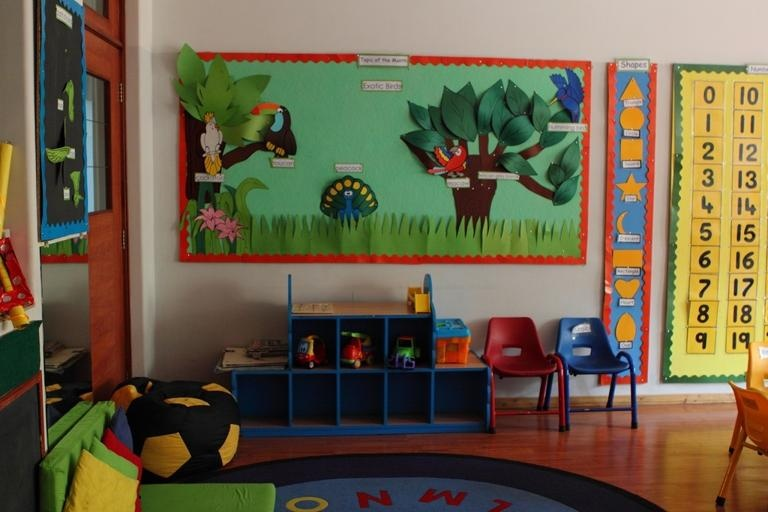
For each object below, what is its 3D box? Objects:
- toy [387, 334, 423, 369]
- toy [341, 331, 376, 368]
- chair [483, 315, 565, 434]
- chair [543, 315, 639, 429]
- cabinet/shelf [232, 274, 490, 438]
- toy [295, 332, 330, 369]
[{"bbox_3d":[0.175,0.785,5.538,0.235,0.216,0.441,-1,-5,3],"label":"toy"},{"bbox_3d":[-0.200,0.754,5.549,0.302,0.313,0.193,-7,8,-35],"label":"toy"},{"bbox_3d":[1.152,0.964,5.688,0.665,0.856,0.561,0,4,4],"label":"chair"},{"bbox_3d":[1.763,0.970,5.832,0.803,1.151,0.825,0,-5,-5],"label":"chair"},{"bbox_3d":[-0.176,0.787,5.583,2.048,1.252,0.460,-1,4,-4],"label":"cabinet/shelf"},{"bbox_3d":[-0.560,0.763,5.441,0.170,0.278,0.280,-4,-7,39],"label":"toy"}]
